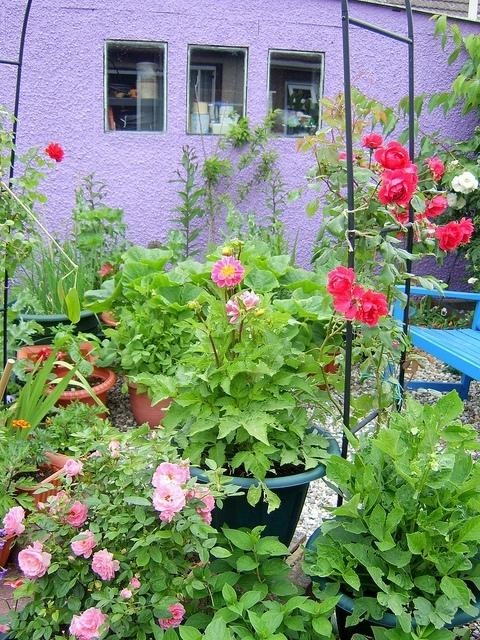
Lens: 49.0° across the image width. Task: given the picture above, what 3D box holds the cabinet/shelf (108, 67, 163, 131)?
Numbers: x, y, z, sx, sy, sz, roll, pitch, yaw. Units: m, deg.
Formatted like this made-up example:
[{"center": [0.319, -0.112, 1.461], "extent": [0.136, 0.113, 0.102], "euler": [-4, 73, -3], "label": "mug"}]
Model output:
[{"center": [-0.775, -1.625, 3.809], "extent": [0.474, 0.538, 0.314], "euler": [0, 13, -4], "label": "cabinet/shelf"}]
